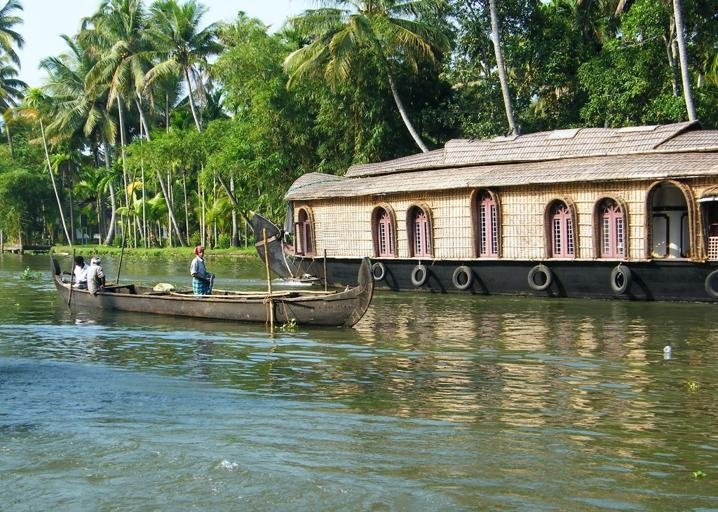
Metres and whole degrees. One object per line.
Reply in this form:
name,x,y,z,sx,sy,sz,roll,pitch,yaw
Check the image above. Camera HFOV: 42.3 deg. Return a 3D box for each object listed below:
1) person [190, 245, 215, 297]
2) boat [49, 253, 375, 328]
person,-4.787,0.467,28.493,0.609,0.753,1.941,-9,-27,-6
boat,-4.008,0.987,26.131,12.671,1.998,2.045,-2,0,37
